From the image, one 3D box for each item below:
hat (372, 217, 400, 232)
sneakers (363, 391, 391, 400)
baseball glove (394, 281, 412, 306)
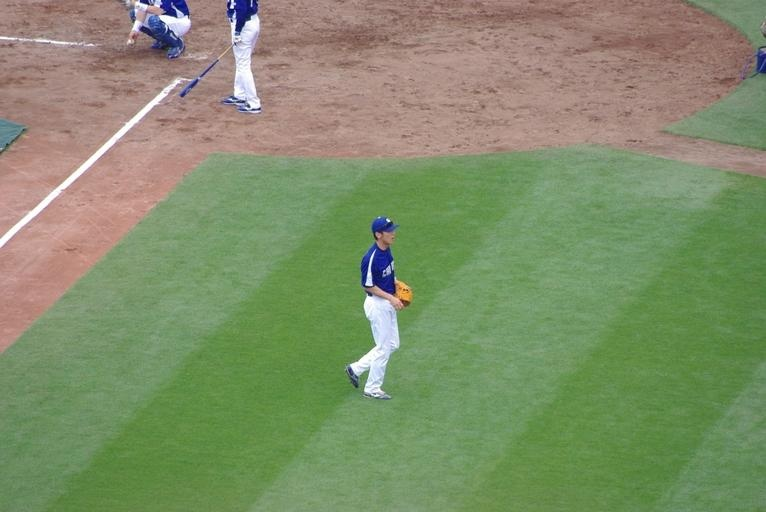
[{"bbox_3d":[0.011,-0.457,18.609,0.380,0.136,0.218,-4,16,5],"label":"hat"},{"bbox_3d":[-0.089,2.046,19.285,0.461,0.127,0.125,1,6,0],"label":"sneakers"},{"bbox_3d":[0.218,0.546,18.868,0.145,0.342,0.251,-12,28,29],"label":"baseball glove"}]
